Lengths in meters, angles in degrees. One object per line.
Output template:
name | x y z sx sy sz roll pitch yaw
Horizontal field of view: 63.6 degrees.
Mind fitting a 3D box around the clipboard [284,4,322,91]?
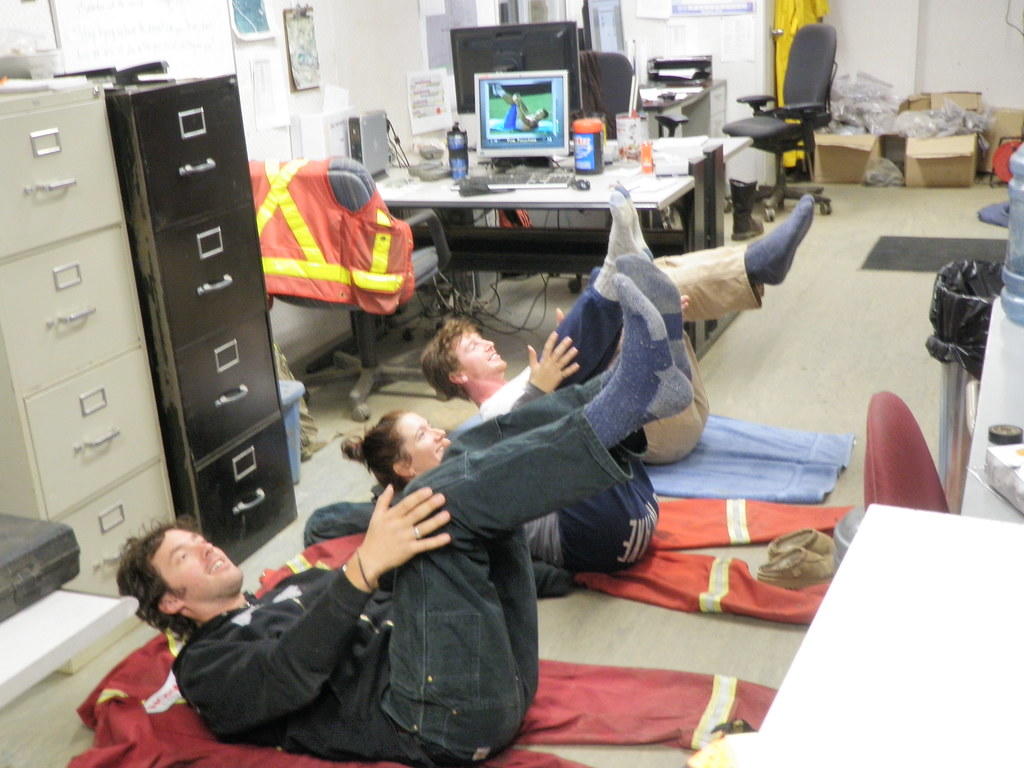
clipboard | -1.103 -1.762 4.298 0.059 0.461 0.373 5 23 20

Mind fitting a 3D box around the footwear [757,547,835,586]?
footwear | 0.878 0.572 2.534 0.204 0.095 0.135 -17 25 -4

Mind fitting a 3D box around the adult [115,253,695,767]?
adult | -0.166 0.498 2.295 1.542 1.084 0.892 -26 -5 16

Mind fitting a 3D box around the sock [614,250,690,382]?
sock | 0.295 -0.152 1.899 0.066 0.294 0.165 -28 -27 17

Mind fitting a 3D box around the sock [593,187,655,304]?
sock | 0.368 -0.443 2.657 0.230 0.422 0.155 -14 24 -19

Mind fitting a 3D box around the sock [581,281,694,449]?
sock | 0.268 -0.008 1.704 0.133 0.511 0.211 2 -9 -26

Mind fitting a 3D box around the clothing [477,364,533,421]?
clothing | -0.008 0.024 2.633 0.182 0.072 0.135 -45 10 -13

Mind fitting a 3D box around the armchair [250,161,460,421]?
armchair | -0.773 -0.537 3.916 0.811 1.289 0.870 3 30 5

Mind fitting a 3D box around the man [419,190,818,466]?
man | 0.397 -0.104 3.101 1.564 0.847 0.515 -17 2 23

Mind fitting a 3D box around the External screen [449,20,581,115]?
External screen | 0.030 -1.765 4.614 0.629 0.498 0.110 1 17 12

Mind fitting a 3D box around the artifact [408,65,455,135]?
artifact | -0.531 -1.799 5.262 0.095 0.413 0.402 6 14 34

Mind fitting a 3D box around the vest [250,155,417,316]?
vest | -0.867 -0.746 3.740 0.788 0.676 0.490 9 23 10

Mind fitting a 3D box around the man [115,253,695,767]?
man | -0.162 0.483 2.292 1.542 1.084 0.892 -26 -5 16
